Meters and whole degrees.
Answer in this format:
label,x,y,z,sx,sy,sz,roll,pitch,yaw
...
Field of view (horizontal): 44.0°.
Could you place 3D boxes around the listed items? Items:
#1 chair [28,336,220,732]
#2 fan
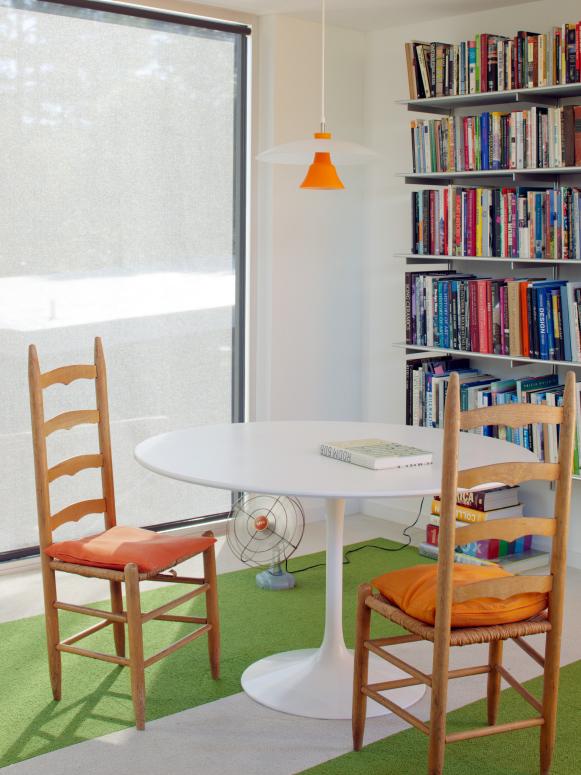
label,x,y,z,sx,sy,sz,roll,pitch,yaw
chair,-0.539,0.351,2.297,0.603,1.016,1.201,0,3,-8
fan,-0.080,0.558,2.704,0.332,0.356,0.206,0,-6,27
